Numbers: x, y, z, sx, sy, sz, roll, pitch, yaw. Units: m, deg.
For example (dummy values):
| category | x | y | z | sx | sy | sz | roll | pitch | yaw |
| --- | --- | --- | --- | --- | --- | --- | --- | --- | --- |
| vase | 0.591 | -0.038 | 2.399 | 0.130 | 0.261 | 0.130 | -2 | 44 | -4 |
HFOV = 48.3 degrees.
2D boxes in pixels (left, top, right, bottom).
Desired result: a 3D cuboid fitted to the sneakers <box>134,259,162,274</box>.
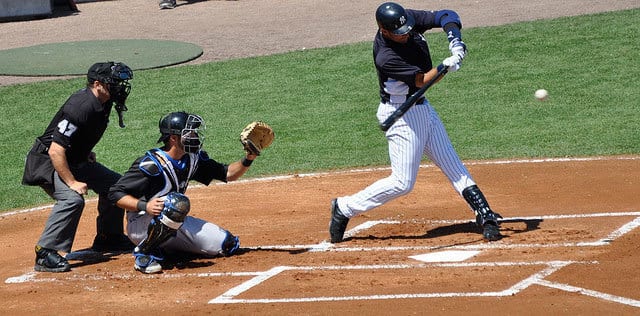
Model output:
| category | x | y | z | sx | sy | sz | roll | pitch | yaw |
| --- | --- | --- | --- | --- | --- | --- | --- | --- | --- |
| sneakers | -3.177 | 2.023 | 13.328 | 0.508 | 0.180 | 0.215 | -1 | 20 | 8 |

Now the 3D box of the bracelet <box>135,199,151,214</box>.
| category | x | y | z | sx | sy | sz | roll | pitch | yaw |
| --- | --- | --- | --- | --- | --- | --- | --- | --- | --- |
| bracelet | -3.282 | 0.870 | 13.212 | 0.329 | 0.247 | 0.084 | -2 | -12 | 3 |

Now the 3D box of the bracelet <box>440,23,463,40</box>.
| category | x | y | z | sx | sy | sz | roll | pitch | yaw |
| --- | --- | --- | --- | --- | --- | --- | --- | --- | --- |
| bracelet | 2.449 | -2.395 | 13.488 | 0.331 | 0.278 | 0.379 | -6 | 1 | 10 |

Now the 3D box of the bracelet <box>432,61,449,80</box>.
| category | x | y | z | sx | sy | sz | roll | pitch | yaw |
| --- | --- | --- | --- | --- | --- | --- | --- | --- | --- |
| bracelet | 2.228 | -1.600 | 13.299 | 0.299 | 0.253 | 0.111 | -26 | -19 | -11 |
